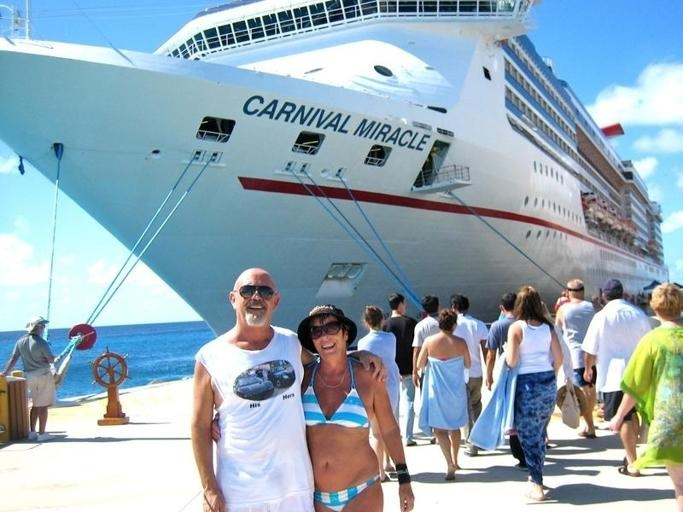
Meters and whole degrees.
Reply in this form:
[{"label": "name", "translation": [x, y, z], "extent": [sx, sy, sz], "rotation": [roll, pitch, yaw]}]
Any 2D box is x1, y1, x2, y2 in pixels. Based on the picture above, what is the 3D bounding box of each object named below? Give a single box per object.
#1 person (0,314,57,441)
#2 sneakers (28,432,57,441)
[{"label": "person", "translation": [-4.028, 1.599, 7.265], "extent": [0.504, 1.557, 0.346], "rotation": [-4, -6, 6]}, {"label": "sneakers", "translation": [-3.888, 2.334, 7.128], "extent": [0.272, 0.119, 0.149], "rotation": [-1, -4, 4]}]
